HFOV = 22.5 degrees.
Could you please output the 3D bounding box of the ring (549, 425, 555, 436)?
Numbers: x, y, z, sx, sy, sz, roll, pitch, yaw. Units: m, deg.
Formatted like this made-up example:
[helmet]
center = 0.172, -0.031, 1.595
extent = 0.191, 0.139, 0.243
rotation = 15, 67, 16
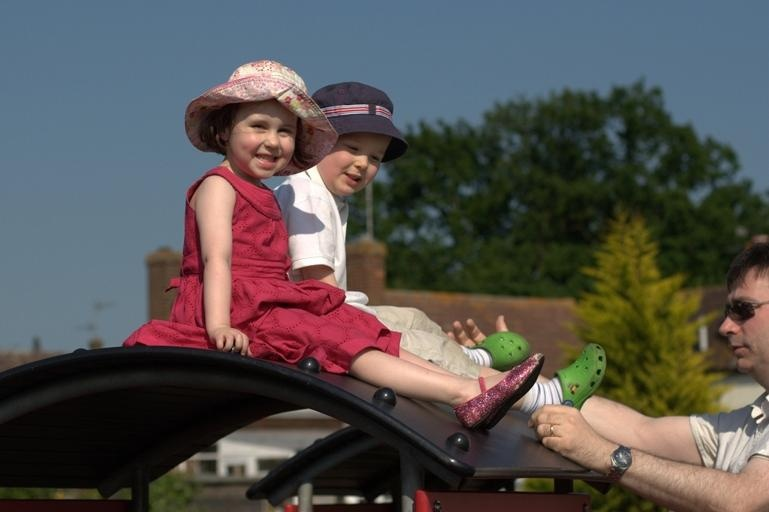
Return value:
[ring]
center = 1.505, 1.599, 17.523
extent = 0.017, 0.070, 0.047
rotation = 3, 18, -8
